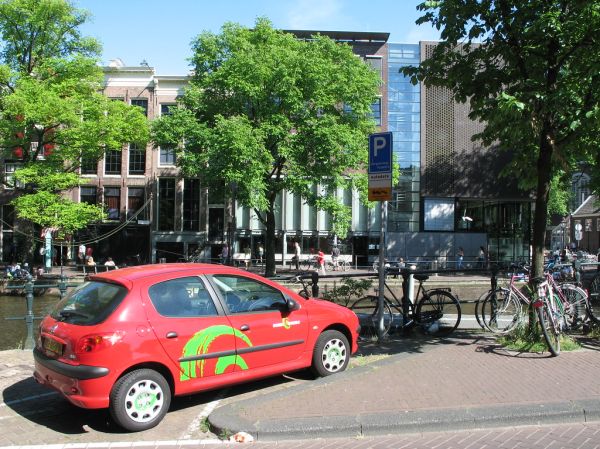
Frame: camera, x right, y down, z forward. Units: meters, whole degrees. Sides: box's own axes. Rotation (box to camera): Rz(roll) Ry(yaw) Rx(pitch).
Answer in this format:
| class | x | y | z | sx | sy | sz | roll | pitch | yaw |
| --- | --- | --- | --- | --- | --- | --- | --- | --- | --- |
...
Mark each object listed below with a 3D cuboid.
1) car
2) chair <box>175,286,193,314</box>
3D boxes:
| class | x | y | z | sx | sy | sz | roll | pitch | yaw |
| --- | --- | --- | --- | --- | --- | --- | --- | --- | --- |
| car | -1.700 | 1.975 | 12.181 | 4.521 | 1.797 | 2.405 | -4 | 1 | -31 |
| chair | -1.913 | 1.292 | 11.464 | 0.301 | 0.434 | 0.429 | -2 | -1 | -5 |
